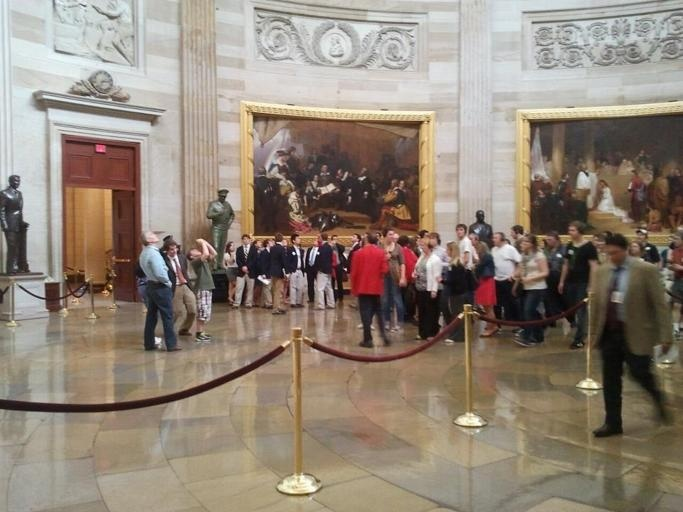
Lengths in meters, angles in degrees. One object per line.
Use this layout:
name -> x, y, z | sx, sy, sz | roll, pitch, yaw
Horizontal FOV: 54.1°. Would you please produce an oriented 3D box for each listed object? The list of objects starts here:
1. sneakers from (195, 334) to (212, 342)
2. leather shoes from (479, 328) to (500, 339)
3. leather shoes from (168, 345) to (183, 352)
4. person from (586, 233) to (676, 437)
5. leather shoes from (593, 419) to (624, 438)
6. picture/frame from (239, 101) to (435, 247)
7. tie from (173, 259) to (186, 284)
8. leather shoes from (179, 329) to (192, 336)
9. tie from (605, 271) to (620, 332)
sneakers -> -2.331, 1.390, 11.325 | 0.218, 0.105, 0.124 | 1, 2, 6
leather shoes -> 2.619, 1.397, 11.897 | 0.396, 0.145, 0.126 | -5, -7, -33
leather shoes -> -2.653, 1.492, 10.675 | 0.233, 0.098, 0.075 | -8, 12, -39
person -> 3.324, 0.898, 7.622 | 0.804, 2.213, 0.648 | 2, 12, 6
leather shoes -> 2.949, 1.968, 7.575 | 0.416, 0.252, 0.134 | 0, -4, 1
picture/frame -> -0.303, -2.293, 18.040 | 4.660, 3.007, 0.312 | 0, 0, -16
tie -> -2.682, 0.267, 11.135 | 0.087, 0.329, 0.252 | -25, 17, -21
leather shoes -> -2.738, 1.344, 11.769 | 0.242, 0.088, 0.078 | 1, 4, -7
tie -> 3.190, 0.491, 7.738 | 0.178, 0.726, 0.181 | 0, -27, 31
